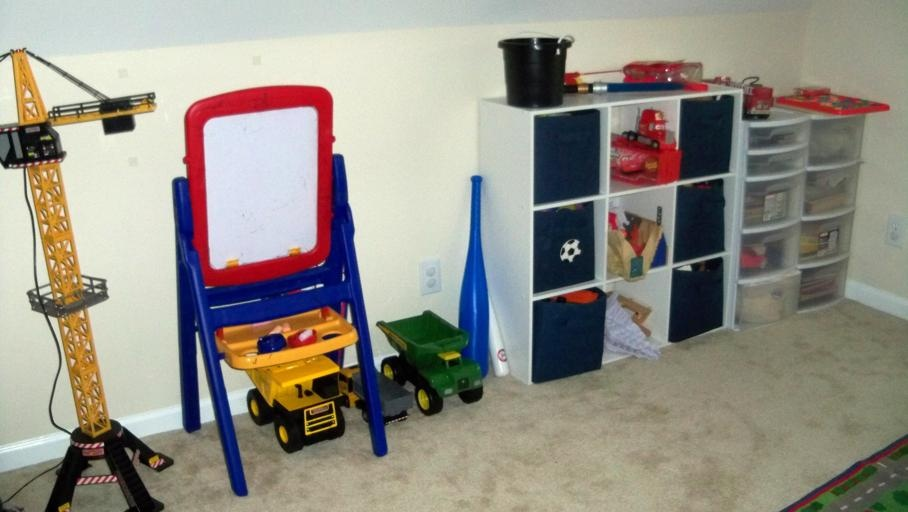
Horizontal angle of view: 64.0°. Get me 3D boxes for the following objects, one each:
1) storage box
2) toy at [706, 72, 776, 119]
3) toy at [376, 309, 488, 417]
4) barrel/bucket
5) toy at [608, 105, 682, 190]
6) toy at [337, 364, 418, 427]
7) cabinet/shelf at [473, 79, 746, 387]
[{"bbox_3d":[2.122,-0.255,4.502,1.039,1.247,0.389,-19,28,-26],"label":"storage box"},{"bbox_3d":[1.754,-0.996,4.440,0.135,0.210,0.436,-8,25,-12],"label":"toy"},{"bbox_3d":[-0.145,0.584,4.114,0.423,0.347,0.635,-13,25,-33],"label":"toy"},{"bbox_3d":[0.442,-0.998,3.969,0.444,0.338,0.373,-10,16,-28],"label":"barrel/bucket"},{"bbox_3d":[1.104,-0.664,4.277,0.452,0.337,0.428,-6,24,-13],"label":"toy"},{"bbox_3d":[-0.401,0.730,3.894,0.250,0.191,0.419,-12,28,-33],"label":"toy"},{"bbox_3d":[0.841,-0.157,4.134,1.719,1.469,0.540,-11,15,-31],"label":"cabinet/shelf"}]
